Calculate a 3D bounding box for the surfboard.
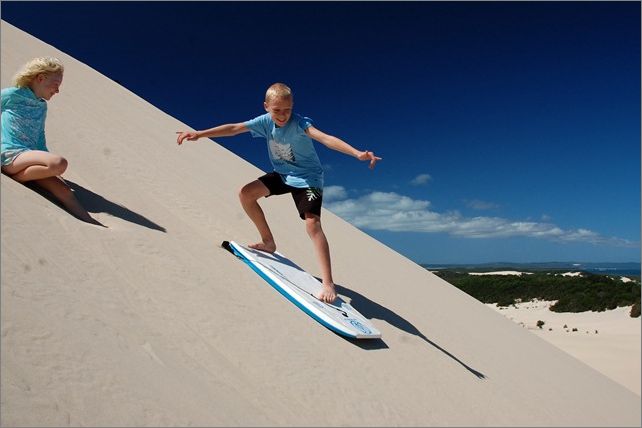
[{"bbox_3d":[-0.339,0.713,5.211,0.620,0.162,2.127,4,20,-45],"label":"surfboard"}]
